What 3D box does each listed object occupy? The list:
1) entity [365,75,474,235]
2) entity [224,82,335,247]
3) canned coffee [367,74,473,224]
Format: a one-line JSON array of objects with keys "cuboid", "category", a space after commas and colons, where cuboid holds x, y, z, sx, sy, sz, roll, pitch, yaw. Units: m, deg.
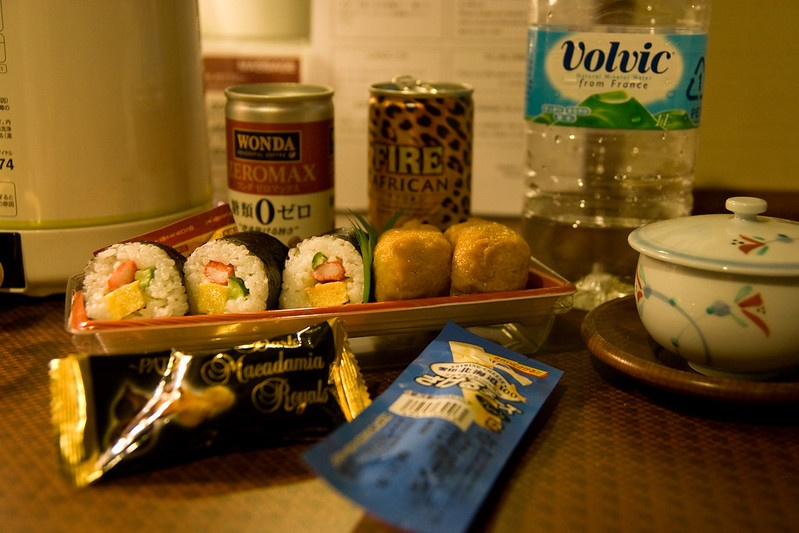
[{"cuboid": [0.031, -0.159, 0.861, 0.125, 0.197, 0.121, 14, 34, 21], "category": "entity"}, {"cuboid": [-0.164, -0.131, 0.851, 0.134, 0.213, 0.128, 9, 27, 6], "category": "entity"}, {"cuboid": [0.026, -0.139, 0.822, 0.137, 0.179, 0.061, -1, 19, 2], "category": "canned coffee"}]
